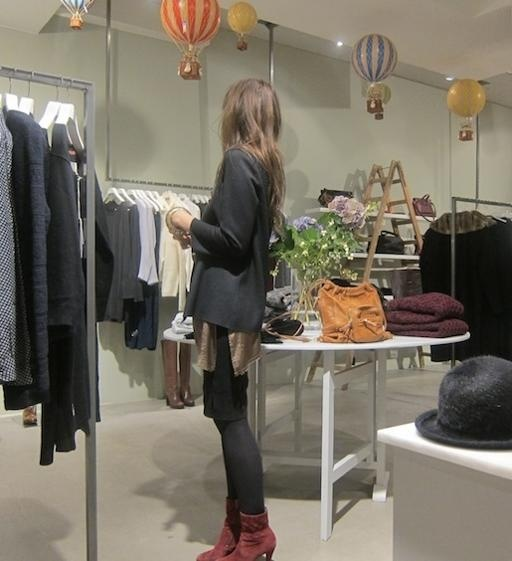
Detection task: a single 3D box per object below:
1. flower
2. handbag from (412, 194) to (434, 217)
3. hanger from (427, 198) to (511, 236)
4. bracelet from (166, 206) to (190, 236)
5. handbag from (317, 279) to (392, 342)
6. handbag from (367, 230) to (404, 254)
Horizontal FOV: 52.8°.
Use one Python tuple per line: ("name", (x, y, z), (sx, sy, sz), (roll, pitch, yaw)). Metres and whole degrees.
("flower", (0.204, -0.112, 2.240), (0.255, 0.468, 0.341), (6, -13, -36))
("handbag", (1.740, -0.787, 5.415), (0.262, 0.299, 0.134), (4, -5, -24))
("hanger", (1.322, -0.383, 3.301), (0.280, 0.164, 0.421), (1, 3, 42))
("bracelet", (-0.264, -0.210, 1.748), (0.063, 0.108, 0.050), (1, 9, 7))
("handbag", (0.372, 0.118, 2.017), (0.257, 0.221, 0.214), (1, 2, 0))
("handbag", (1.324, -0.364, 5.203), (0.316, 0.253, 0.246), (-1, 6, -32))
